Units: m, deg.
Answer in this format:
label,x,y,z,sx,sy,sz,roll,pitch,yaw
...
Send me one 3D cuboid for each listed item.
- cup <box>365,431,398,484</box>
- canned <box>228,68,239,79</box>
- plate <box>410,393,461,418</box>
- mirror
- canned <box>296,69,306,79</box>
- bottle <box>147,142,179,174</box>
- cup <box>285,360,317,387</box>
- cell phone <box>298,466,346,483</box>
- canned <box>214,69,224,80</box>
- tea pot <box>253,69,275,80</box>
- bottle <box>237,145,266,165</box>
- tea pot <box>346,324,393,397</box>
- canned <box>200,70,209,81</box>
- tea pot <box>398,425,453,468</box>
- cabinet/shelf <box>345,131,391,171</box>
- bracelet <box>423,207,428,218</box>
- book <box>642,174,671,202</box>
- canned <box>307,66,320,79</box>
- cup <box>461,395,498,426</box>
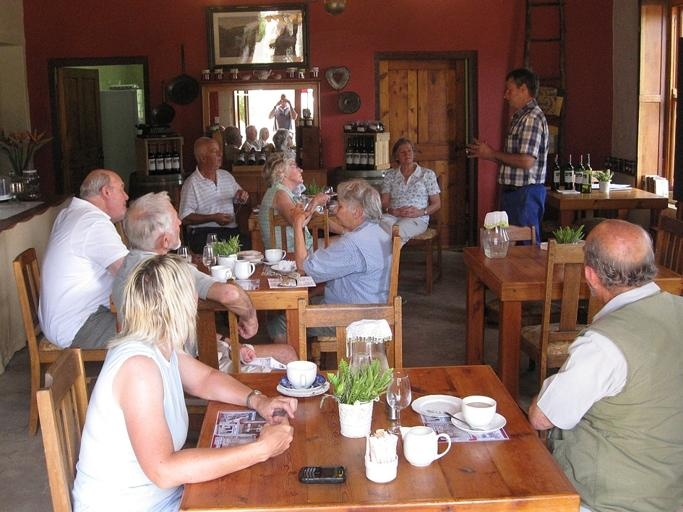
label,x,y,z,sx,sy,sz,roll,pitch,yaw
cup,0.113,0.567,1.614,0.112,0.129,0.119,-1,0,0
canned,-1.402,-2.424,7.506,0.113,0.147,0.051,-3,12,-16
plate,0.329,0.524,1.979,0.168,0.026,0.127,2,12,6
mirror,-1.002,-1.667,7.202,1.560,1.225,0.127,0,-1,1
canned,-0.525,-2.420,7.498,0.099,0.152,0.125,1,5,2
bottle,-2.202,-1.209,7.040,0.405,0.417,0.136,-2,2,-19
cup,-0.146,0.435,2.132,0.080,0.068,0.103,1,18,0
cell phone,-0.053,0.625,1.620,0.086,0.019,0.053,2,5,-2
canned,-1.600,-2.413,7.499,0.123,0.135,0.179,1,18,0
tea pot,-1.031,-2.399,7.535,0.143,0.131,0.187,0,2,14
bottle,-1.154,-1.308,7.343,0.270,0.214,0.279,2,4,0
tea pot,0.084,0.362,2.007,0.158,0.246,0.188,-4,4,-12
canned,-1.777,-2.398,7.480,0.096,0.138,0.045,0,-11,-4
tea pot,0.261,0.576,1.710,0.129,0.092,0.101,2,-3,1
cabinet/shelf,0.334,-1.274,7.205,0.591,0.629,0.473,1,5,12
bracelet,0.888,-0.472,6.097,0.058,0.070,0.072,-2,-3,2
book,3.445,-0.788,6.255,0.141,0.339,0.443,-9,1,35
canned,-0.360,-2.437,7.502,0.141,0.142,0.145,-1,7,-3
cup,0.447,0.503,1.870,0.086,0.065,0.094,0,4,0
